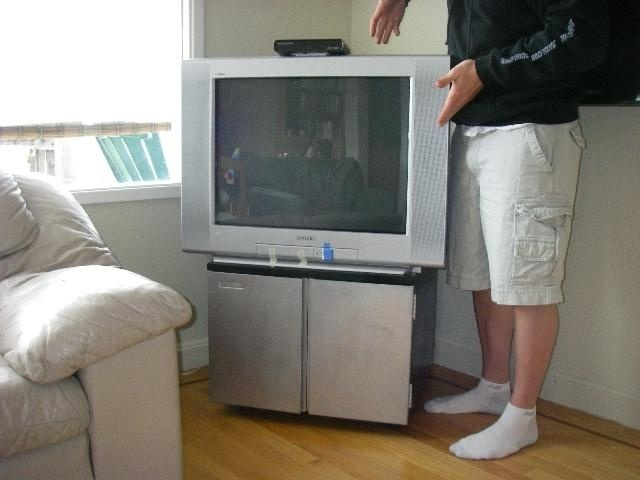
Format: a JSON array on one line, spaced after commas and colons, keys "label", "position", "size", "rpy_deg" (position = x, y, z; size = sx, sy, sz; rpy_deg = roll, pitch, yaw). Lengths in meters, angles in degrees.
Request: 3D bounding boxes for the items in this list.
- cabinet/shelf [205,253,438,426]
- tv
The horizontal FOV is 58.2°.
[{"label": "cabinet/shelf", "position": [-0.001, 0.398, 2.493], "size": [0.811, 0.604, 0.603], "rpy_deg": [3, 5, 12]}, {"label": "tv", "position": [0.028, -0.320, 2.402], "size": [1.082, 0.806, 0.575], "rpy_deg": [4, 12, 17]}]
